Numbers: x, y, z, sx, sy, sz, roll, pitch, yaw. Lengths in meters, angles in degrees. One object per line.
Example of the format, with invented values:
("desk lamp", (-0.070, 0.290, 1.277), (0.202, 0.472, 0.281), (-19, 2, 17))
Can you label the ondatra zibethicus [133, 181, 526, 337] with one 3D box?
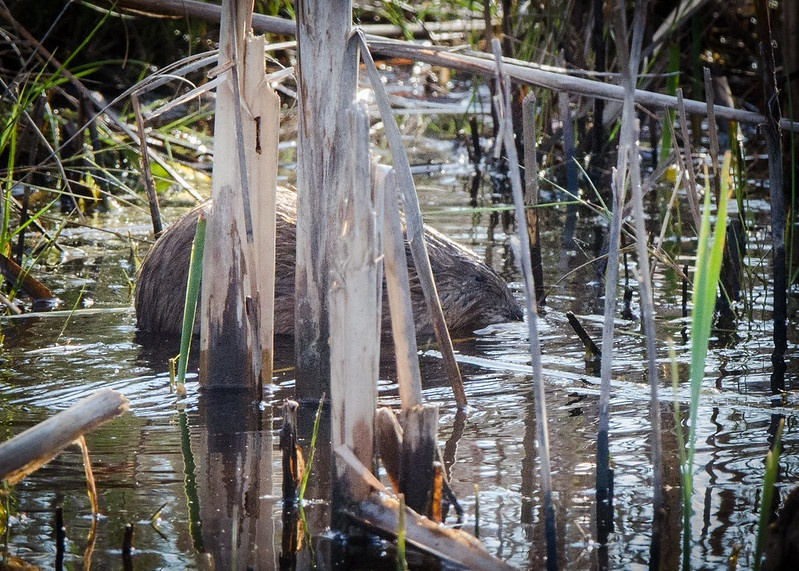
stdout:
("ondatra zibethicus", (-0.449, -0.254, 8.956), (3.280, 1.653, 1.106), (0, 2, -10))
